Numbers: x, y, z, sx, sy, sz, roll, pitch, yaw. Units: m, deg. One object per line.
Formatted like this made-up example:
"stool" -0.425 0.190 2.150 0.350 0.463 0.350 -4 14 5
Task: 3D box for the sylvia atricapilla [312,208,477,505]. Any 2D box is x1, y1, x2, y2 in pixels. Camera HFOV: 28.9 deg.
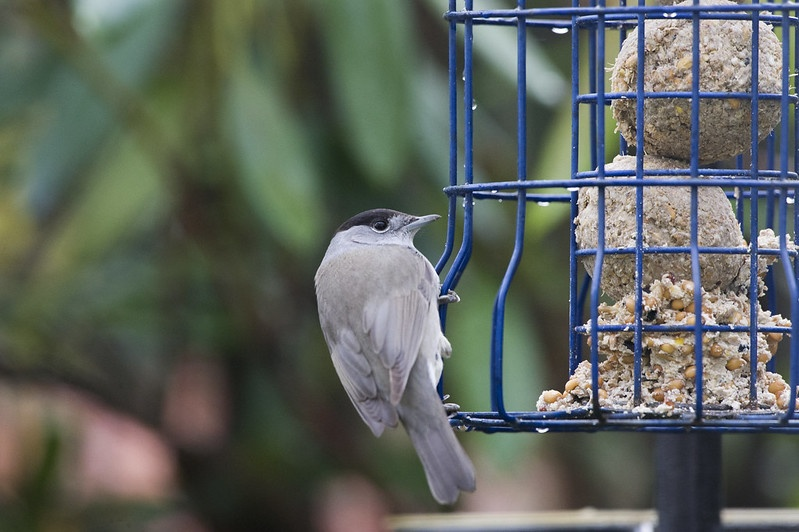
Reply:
"sylvia atricapilla" -0.056 0.336 7.205 0.495 1.531 0.610 -24 -41 18
